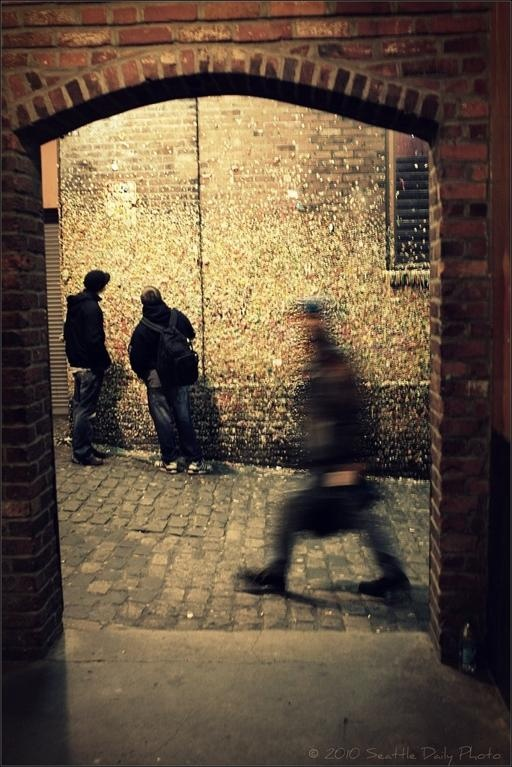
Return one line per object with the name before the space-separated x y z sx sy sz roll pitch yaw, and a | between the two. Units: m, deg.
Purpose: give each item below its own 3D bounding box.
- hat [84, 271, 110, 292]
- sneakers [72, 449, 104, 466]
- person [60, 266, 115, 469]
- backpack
hat | -1.468 -0.936 6.702 0.135 0.212 0.246 7 11 41
sneakers | -1.603 0.686 6.926 0.250 0.147 0.138 0 17 -8
person | -1.562 -0.119 6.729 0.421 1.834 0.378 1 7 5
backpack | -0.746 -0.297 6.315 0.465 0.681 0.239 -2 8 -14
